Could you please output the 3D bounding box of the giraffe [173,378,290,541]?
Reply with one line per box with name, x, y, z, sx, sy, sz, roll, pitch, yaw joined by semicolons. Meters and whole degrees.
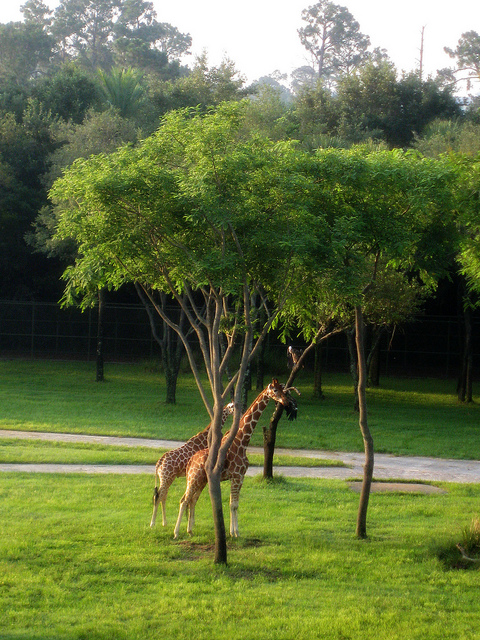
giraffe;-0.230;2.226;21.732;1.483;2.504;1.661;3;0;34
